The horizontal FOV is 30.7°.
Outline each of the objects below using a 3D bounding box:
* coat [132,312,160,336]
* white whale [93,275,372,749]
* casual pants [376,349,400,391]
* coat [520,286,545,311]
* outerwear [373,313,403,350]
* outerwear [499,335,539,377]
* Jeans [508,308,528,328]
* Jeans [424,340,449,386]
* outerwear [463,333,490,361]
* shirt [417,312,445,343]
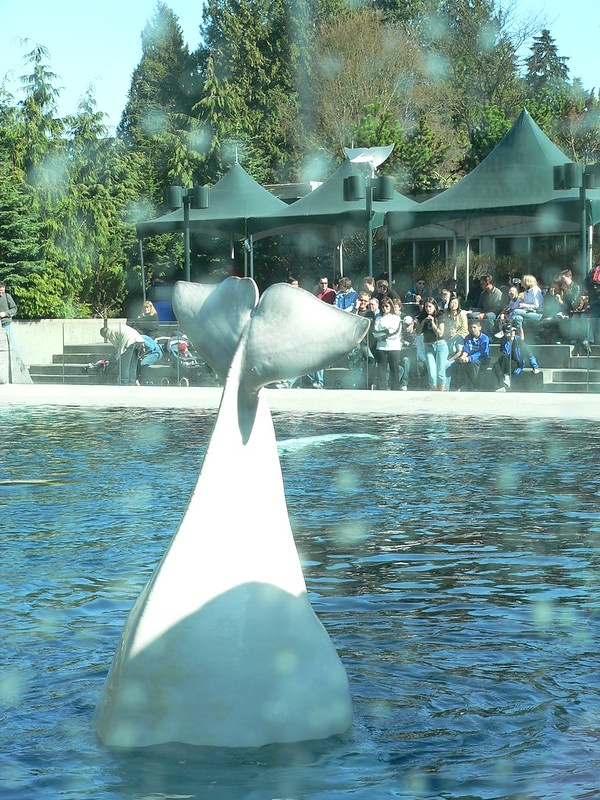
[{"bbox_3d":[-3.186,-1.577,23.280,0.706,0.684,0.193,2,20,4],"label":"coat"},{"bbox_3d":[-0.191,0.318,2.898,0.712,1.276,0.461,-2,6,-3],"label":"white whale"},{"bbox_3d":[1.430,-0.493,17.677,0.360,0.628,0.293,-1,6,1],"label":"casual pants"},{"bbox_3d":[4.065,-1.695,18.971,0.378,0.513,0.629,0,2,1],"label":"coat"},{"bbox_3d":[1.431,-1.054,17.559,0.596,0.800,0.507,-1,-3,5],"label":"outerwear"},{"bbox_3d":[3.504,-0.672,17.537,0.512,0.680,0.347,-12,37,12],"label":"outerwear"},{"bbox_3d":[3.687,-1.363,18.385,0.131,0.321,0.326,19,16,-48],"label":"Jeans"},{"bbox_3d":[2.174,-0.549,17.367,0.364,0.783,0.263,-1,6,0],"label":"Jeans"},{"bbox_3d":[2.858,-0.830,17.599,0.337,0.448,0.466,-2,0,17],"label":"outerwear"},{"bbox_3d":[2.127,-1.135,17.275,0.329,0.469,0.140,18,29,24],"label":"shirt"}]
